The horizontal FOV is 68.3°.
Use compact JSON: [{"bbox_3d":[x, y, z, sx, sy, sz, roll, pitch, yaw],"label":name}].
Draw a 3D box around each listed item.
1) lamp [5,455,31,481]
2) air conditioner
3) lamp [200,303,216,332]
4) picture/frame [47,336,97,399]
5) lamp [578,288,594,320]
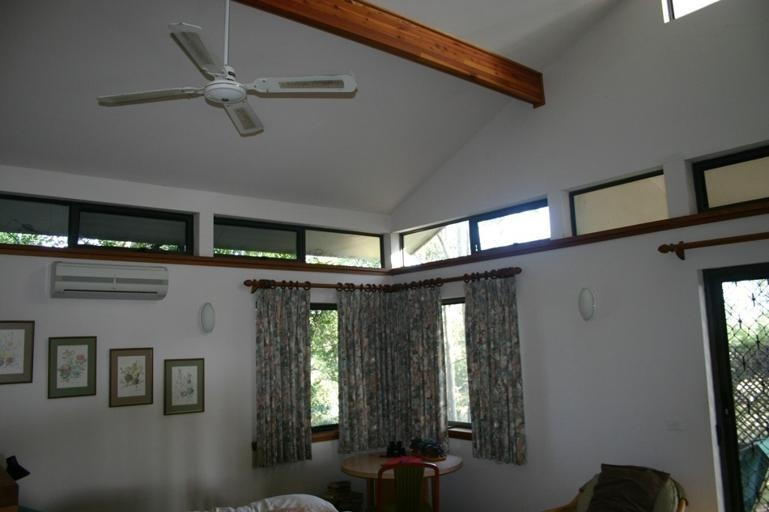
[{"bbox_3d":[-3.491,2.012,5.399,0.212,0.240,0.335,7,-14,-32],"label":"lamp"},{"bbox_3d":[-2.874,0.260,5.964,1.102,0.358,0.194,4,-13,-23],"label":"air conditioner"},{"bbox_3d":[-2.002,0.699,6.486,0.083,0.293,0.201,-1,-6,33],"label":"lamp"},{"bbox_3d":[-3.199,1.130,5.826,0.440,0.602,0.116,3,-12,-18],"label":"picture/frame"},{"bbox_3d":[2.140,0.494,5.996,0.180,0.348,0.096,-6,-13,25],"label":"lamp"}]
